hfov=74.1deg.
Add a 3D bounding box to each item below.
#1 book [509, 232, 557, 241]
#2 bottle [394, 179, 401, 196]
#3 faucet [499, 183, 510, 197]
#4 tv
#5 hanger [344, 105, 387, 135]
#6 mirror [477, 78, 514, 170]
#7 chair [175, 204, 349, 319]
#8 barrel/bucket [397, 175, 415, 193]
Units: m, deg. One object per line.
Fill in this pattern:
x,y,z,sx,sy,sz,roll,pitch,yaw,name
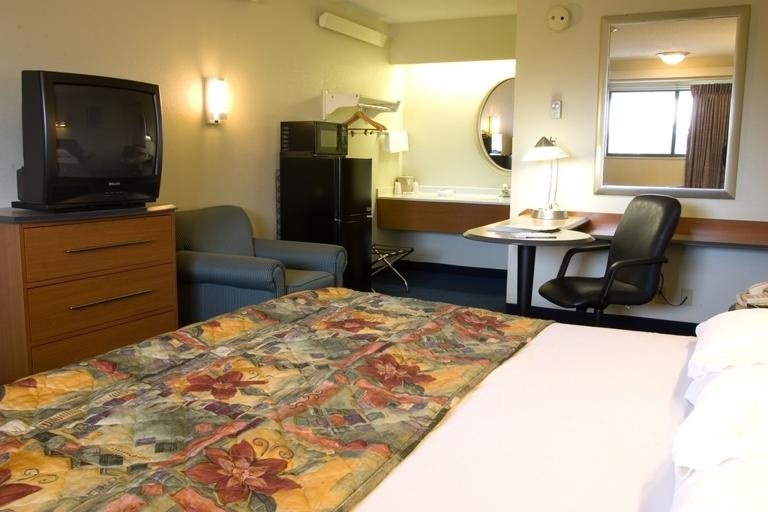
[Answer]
1.092,-0.144,3.710,0.300,0.022,0.242,3,13,9,book
0.184,-0.922,6.817,0.110,0.178,0.259,1,13,0,bottle
1.528,-0.820,6.380,0.183,0.169,0.181,2,3,18,faucet
-1.766,-0.677,3.016,0.549,0.778,0.877,7,10,32,tv
-0.214,-1.628,6.150,0.301,0.321,0.852,8,14,28,hanger
1.418,-1.650,6.438,0.467,1.145,0.219,7,15,25,mirror
-0.948,0.062,4.036,1.065,0.922,1.051,1,5,23,chair
0.312,-0.958,6.792,0.272,0.237,0.162,-1,0,20,barrel/bucket
